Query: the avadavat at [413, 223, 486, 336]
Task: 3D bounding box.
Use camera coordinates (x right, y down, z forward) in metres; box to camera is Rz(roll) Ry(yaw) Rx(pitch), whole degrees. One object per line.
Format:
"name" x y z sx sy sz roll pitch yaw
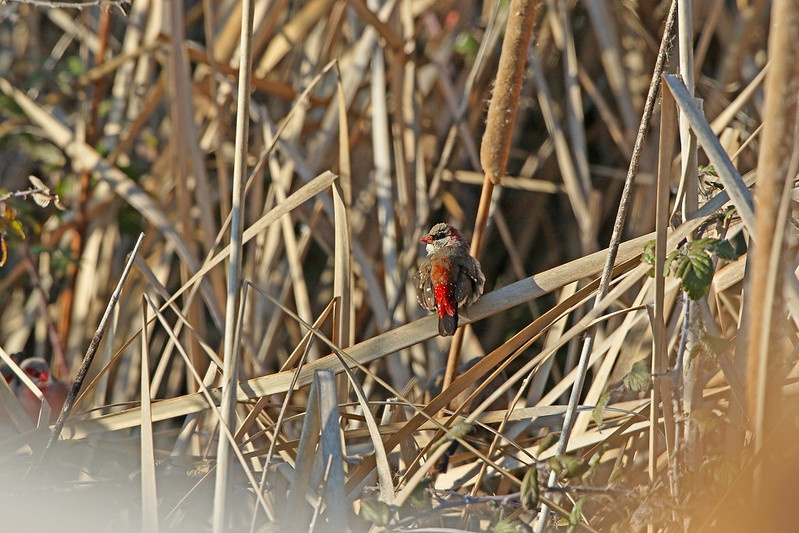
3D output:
"avadavat" 0.269 0.069 7.052 0.358 0.810 0.524 -11 -80 5
